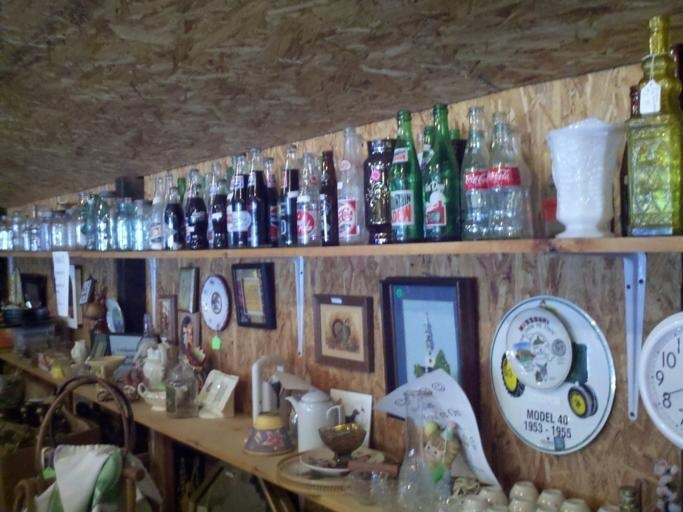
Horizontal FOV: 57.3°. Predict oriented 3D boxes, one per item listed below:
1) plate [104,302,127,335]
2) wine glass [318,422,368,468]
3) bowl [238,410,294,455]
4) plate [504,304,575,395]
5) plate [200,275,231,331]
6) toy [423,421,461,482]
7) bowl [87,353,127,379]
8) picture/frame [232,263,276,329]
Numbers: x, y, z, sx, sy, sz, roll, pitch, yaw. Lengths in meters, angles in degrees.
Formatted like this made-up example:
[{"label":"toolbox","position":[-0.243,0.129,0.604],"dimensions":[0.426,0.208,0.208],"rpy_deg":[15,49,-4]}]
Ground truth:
[{"label":"plate","position":[-1.204,0.336,3.346],"dimensions":[0.062,0.287,0.146],"rpy_deg":[-11,3,-34]},{"label":"wine glass","position":[-0.005,0.598,1.954],"dimensions":[0.123,0.111,0.126],"rpy_deg":[-1,-18,8]},{"label":"bowl","position":[-0.262,0.638,2.259],"dimensions":[0.199,0.141,0.213],"rpy_deg":[0,1,0]},{"label":"plate","position":[0.564,0.261,1.738],"dimensions":[0.036,0.260,0.193],"rpy_deg":[6,-20,-44]},{"label":"plate","position":[-0.549,0.203,2.764],"dimensions":[0.032,0.257,0.240],"rpy_deg":[0,-1,-30]},{"label":"toy","position":[0.286,0.559,1.777],"dimensions":[0.086,0.159,0.050],"rpy_deg":[6,-14,5]},{"label":"bowl","position":[-1.146,0.533,3.061],"dimensions":[0.145,0.108,0.150],"rpy_deg":[0,-11,0]},{"label":"picture/frame","position":[-0.349,0.155,2.549],"dimensions":[0.062,0.250,0.239],"rpy_deg":[4,-8,-34]}]
